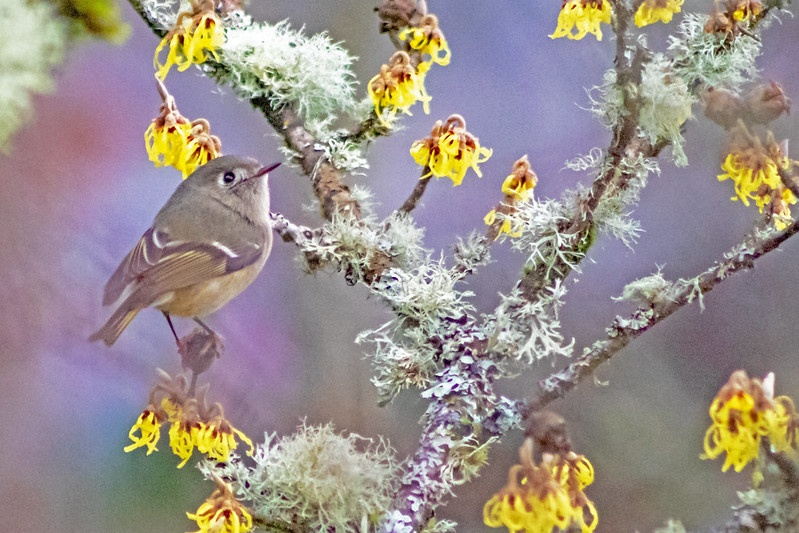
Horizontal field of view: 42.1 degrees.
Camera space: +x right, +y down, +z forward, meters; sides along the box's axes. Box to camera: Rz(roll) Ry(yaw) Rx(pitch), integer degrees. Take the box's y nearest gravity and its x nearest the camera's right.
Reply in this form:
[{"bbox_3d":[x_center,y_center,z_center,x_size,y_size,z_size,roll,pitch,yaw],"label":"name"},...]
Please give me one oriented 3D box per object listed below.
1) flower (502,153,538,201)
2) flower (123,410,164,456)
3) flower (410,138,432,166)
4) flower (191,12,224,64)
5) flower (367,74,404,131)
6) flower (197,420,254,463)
[{"bbox_3d":[0.325,-0.244,2.817,0.088,0.090,0.140,-4,-72,6],"label":"flower"},{"bbox_3d":[-0.689,0.437,2.795,0.099,0.157,0.065,11,-52,-4],"label":"flower"},{"bbox_3d":[0.054,-0.302,2.763,0.046,0.065,0.066,-1,-47,-19],"label":"flower"},{"bbox_3d":[-0.529,-0.620,2.860,0.070,0.130,0.045,-11,-24,5],"label":"flower"},{"bbox_3d":[-0.038,-0.472,2.803,0.072,0.132,0.062,13,-80,-21],"label":"flower"},{"bbox_3d":[-0.480,0.466,2.700,0.099,0.084,0.086,-4,-46,-17],"label":"flower"}]
